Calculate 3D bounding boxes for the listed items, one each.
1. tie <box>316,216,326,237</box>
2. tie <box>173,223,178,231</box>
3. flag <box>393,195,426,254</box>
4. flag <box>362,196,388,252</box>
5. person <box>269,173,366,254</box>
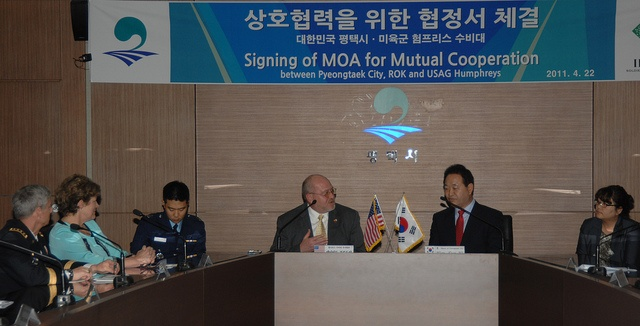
[{"bbox_3d":[0.007,0.872,11.579,0.154,0.297,0.088,1,2,-4],"label":"tie"},{"bbox_3d":[-2.069,0.903,11.540,0.108,0.122,0.036,-2,2,-8],"label":"tie"},{"bbox_3d":[1.231,0.838,11.424,0.389,0.748,0.403,1,2,-2],"label":"flag"},{"bbox_3d":[0.760,0.846,11.562,0.281,0.743,0.403,1,2,2],"label":"flag"},{"bbox_3d":[-0.089,0.794,11.658,1.505,1.083,0.804,-1,10,-20],"label":"person"}]
